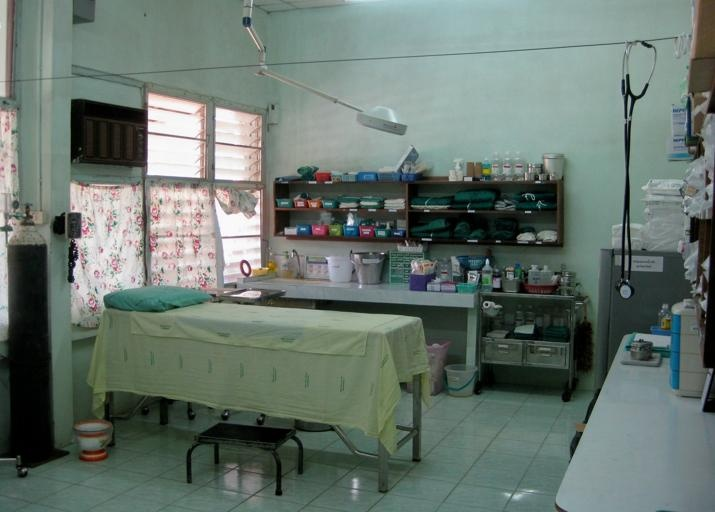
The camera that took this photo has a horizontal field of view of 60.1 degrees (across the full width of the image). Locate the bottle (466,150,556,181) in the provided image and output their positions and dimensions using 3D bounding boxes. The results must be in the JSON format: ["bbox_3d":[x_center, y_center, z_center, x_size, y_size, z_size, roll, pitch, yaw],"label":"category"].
[{"bbox_3d":[1.839,-1.033,7.240,1.122,0.317,0.382,3,9,19],"label":"bottle"}]

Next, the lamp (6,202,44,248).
[{"bbox_3d":[-2.884,-0.271,5.378,0.321,0.343,0.358,-7,10,-40],"label":"lamp"}]

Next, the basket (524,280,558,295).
[{"bbox_3d":[2.109,0.360,7.055,0.383,0.117,0.204,2,8,10],"label":"basket"}]

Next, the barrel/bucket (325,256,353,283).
[{"bbox_3d":[-0.219,0.167,7.818,0.322,0.249,0.326,-1,-2,0],"label":"barrel/bucket"}]

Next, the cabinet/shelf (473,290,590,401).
[{"bbox_3d":[2.043,1.033,7.154,1.229,1.099,0.558,0,-2,24],"label":"cabinet/shelf"}]

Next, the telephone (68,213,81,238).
[{"bbox_3d":[-2.554,-0.278,5.572,0.114,0.228,0.046,-4,9,-27],"label":"telephone"}]

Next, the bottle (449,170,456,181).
[{"bbox_3d":[1.127,-0.960,7.419,0.070,0.123,0.201,-2,8,-16],"label":"bottle"}]

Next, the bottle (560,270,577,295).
[{"bbox_3d":[2.414,0.330,7.067,0.183,0.277,0.445,3,9,20],"label":"bottle"}]

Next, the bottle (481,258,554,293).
[{"bbox_3d":[1.866,0.214,7.143,0.644,0.271,0.375,0,3,16],"label":"bottle"}]

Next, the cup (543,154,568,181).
[{"bbox_3d":[2.247,-1.018,7.130,0.292,0.318,0.283,-2,0,0],"label":"cup"}]

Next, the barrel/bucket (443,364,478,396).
[{"bbox_3d":[1.173,1.413,7.032,0.340,0.249,0.342,-1,-3,0],"label":"barrel/bucket"}]

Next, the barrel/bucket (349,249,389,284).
[{"bbox_3d":[0.129,0.132,7.743,0.395,0.316,0.416,2,-1,0],"label":"barrel/bucket"}]

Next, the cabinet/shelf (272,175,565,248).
[{"bbox_3d":[0.682,-0.544,7.638,3.572,0.854,0.443,3,8,18],"label":"cabinet/shelf"}]

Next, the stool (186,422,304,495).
[{"bbox_3d":[-0.936,1.635,5.249,0.940,0.423,0.612,2,8,12],"label":"stool"}]

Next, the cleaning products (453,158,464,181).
[{"bbox_3d":[1.230,-1.035,7.442,0.120,0.264,0.308,1,8,9],"label":"cleaning products"}]

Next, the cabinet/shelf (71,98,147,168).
[{"bbox_3d":[-2.436,-1.180,6.002,0.273,0.571,0.760,1,2,33],"label":"cabinet/shelf"}]

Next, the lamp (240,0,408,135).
[{"bbox_3d":[-0.295,-1.600,6.020,1.367,0.842,3.550,-1,8,-7],"label":"lamp"}]

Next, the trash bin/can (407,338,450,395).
[{"bbox_3d":[0.931,1.261,7.185,0.611,0.664,0.523,-2,-4,13],"label":"trash bin/can"}]
